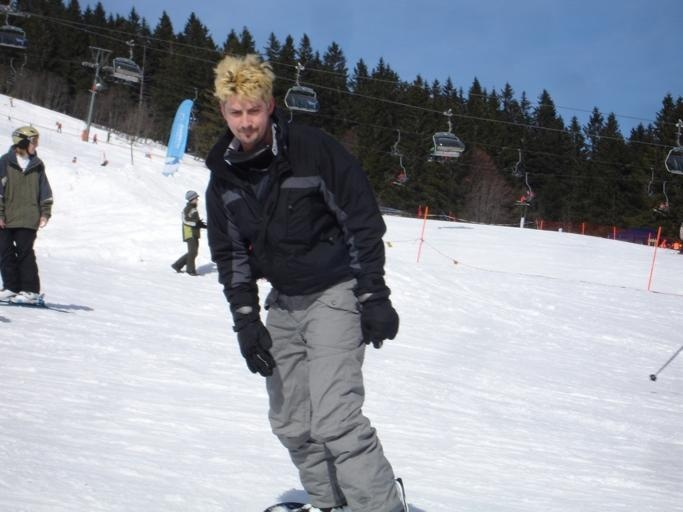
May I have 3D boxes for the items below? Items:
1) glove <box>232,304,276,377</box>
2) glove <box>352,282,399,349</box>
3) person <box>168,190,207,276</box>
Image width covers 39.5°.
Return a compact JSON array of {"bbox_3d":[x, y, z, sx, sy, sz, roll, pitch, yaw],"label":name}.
[{"bbox_3d":[-0.906,0.837,9.415,0.362,0.738,0.245,-26,-11,28],"label":"glove"},{"bbox_3d":[0.371,0.587,9.343,0.396,0.513,0.217,-1,27,13],"label":"glove"},{"bbox_3d":[-3.160,-0.450,19.199,0.522,1.639,0.757,3,10,-21],"label":"person"}]
